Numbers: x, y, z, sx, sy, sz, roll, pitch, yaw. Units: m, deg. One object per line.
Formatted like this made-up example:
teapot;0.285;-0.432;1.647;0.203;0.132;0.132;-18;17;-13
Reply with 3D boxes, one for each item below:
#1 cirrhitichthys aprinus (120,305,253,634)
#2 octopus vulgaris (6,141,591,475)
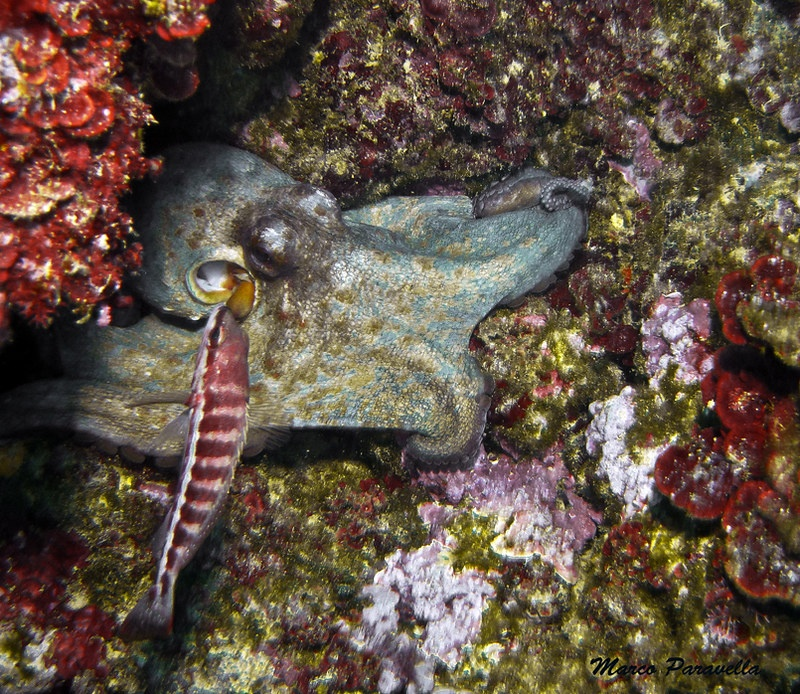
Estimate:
cirrhitichthys aprinus;-1.262;0.761;5.771;0.515;0.778;2.312;20;77;-19
octopus vulgaris;-0.675;-0.297;6.360;3.739;1.509;1.862;0;56;-10
